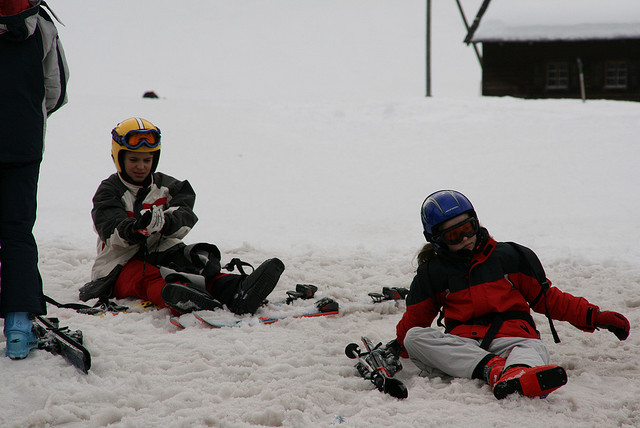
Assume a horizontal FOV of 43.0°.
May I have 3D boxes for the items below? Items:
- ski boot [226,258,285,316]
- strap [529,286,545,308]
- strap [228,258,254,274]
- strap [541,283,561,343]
[{"bbox_3d":[-0.728,0.855,9.209,0.604,0.206,0.272,-49,20,-23],"label":"ski boot"},{"bbox_3d":[2.239,0.856,8.321,0.040,0.170,0.164,24,4,11],"label":"strap"},{"bbox_3d":[-0.920,0.578,9.353,0.227,0.104,0.161,21,0,-4],"label":"strap"},{"bbox_3d":[2.423,1.058,8.330,0.135,0.732,0.183,-12,-8,13],"label":"strap"}]
